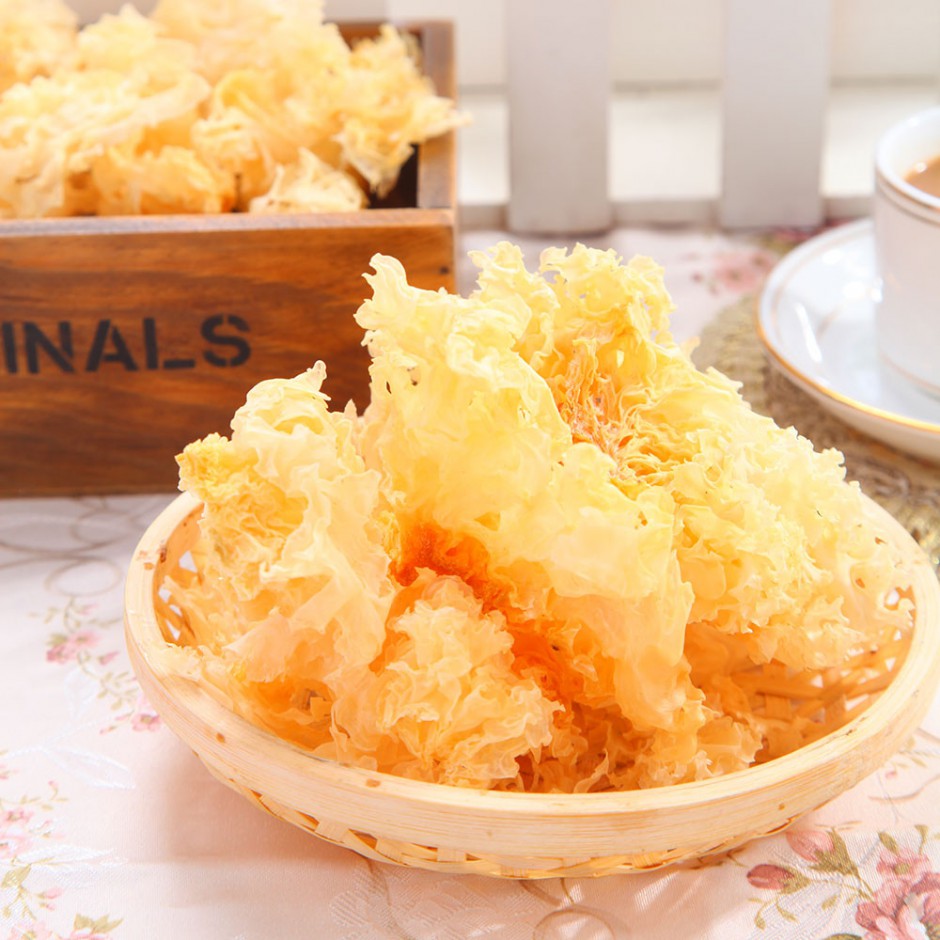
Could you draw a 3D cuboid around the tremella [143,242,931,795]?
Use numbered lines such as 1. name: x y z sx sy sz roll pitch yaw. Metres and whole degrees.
1. tremella: 0.037 0.032 0.429 0.264 0.137 0.235 8 29 3
